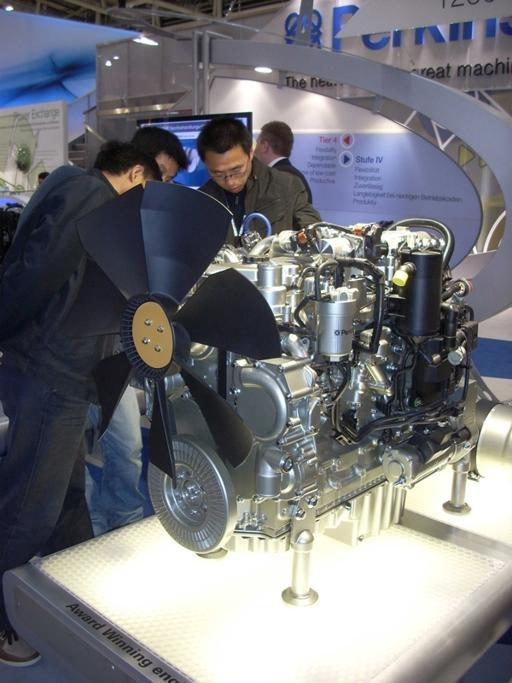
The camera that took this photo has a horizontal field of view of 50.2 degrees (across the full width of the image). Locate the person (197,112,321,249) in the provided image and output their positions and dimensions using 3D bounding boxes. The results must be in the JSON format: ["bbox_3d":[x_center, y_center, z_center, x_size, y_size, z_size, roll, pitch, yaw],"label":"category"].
[{"bbox_3d":[-0.056,-0.935,3.232,0.603,0.565,0.984,4,7,27],"label":"person"}]
